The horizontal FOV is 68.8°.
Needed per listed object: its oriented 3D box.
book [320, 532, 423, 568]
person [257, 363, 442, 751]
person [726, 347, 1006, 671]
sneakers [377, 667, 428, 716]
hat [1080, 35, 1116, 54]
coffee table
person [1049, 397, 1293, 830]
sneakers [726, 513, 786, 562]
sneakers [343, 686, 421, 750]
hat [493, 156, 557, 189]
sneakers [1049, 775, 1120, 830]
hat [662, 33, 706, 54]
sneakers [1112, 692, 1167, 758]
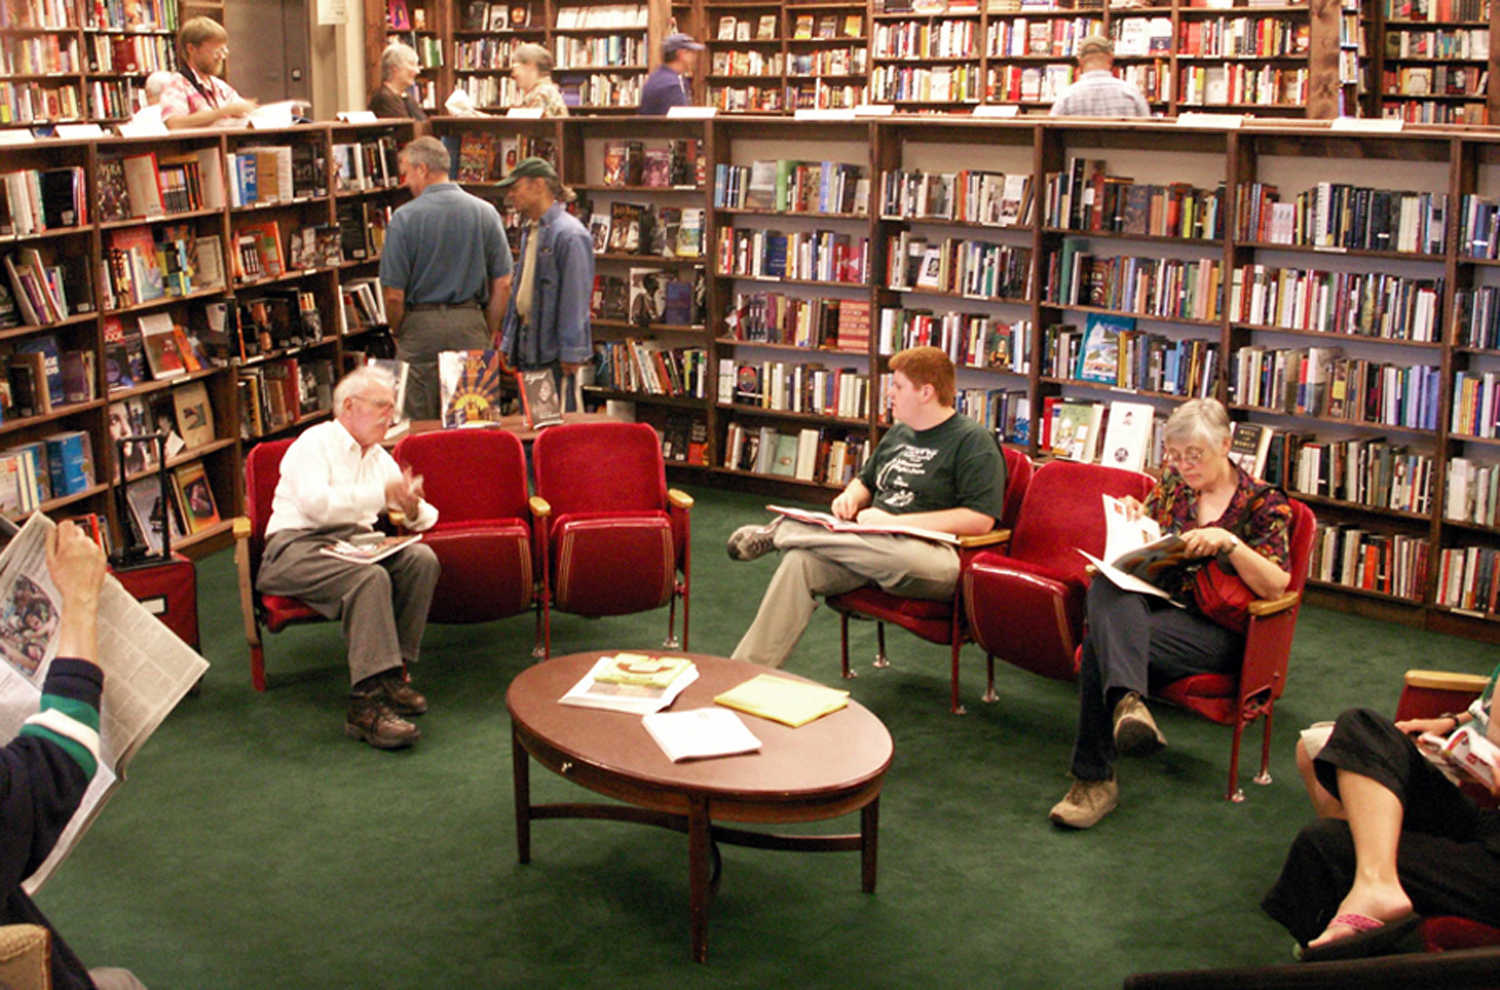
[{"bbox_3d":[-1.712,0.257,4.935,0.395,0.105,0.250,1,16,2],"label":"book"},{"bbox_3d":[-1.753,0.229,4.957,0.746,1.493,1.074,-13,21,-39],"label":"person"},{"bbox_3d":[0.474,0.092,5.172,1.423,1.522,0.963,-4,8,-11],"label":"person"},{"bbox_3d":[-1.588,0.885,4.959,0.293,0.204,0.105,8,16,42],"label":"sneakers"},{"bbox_3d":[2.558,-3.322,8.112,0.219,0.145,0.422,4,17,12],"label":"hat"},{"bbox_3d":[-0.047,0.897,3.667,1.122,0.439,0.861,14,19,41],"label":"coffee table"},{"bbox_3d":[1.804,0.565,4.607,1.069,1.084,1.025,4,12,-4],"label":"person"},{"bbox_3d":[0.019,0.226,5.313,0.379,0.136,0.164,-19,29,55],"label":"sneakers"},{"bbox_3d":[-1.584,0.961,4.724,0.340,0.223,0.142,11,19,32],"label":"sneakers"},{"bbox_3d":[-1.450,-2.071,7.058,0.376,0.194,0.254,2,7,3],"label":"hat"},{"bbox_3d":[1.300,1.190,4.251,0.119,0.140,0.333,2,1,39],"label":"sneakers"},{"bbox_3d":[-0.645,-4.150,10.122,0.306,0.180,0.398,-1,16,-5],"label":"hat"},{"bbox_3d":[1.433,0.854,4.061,0.160,0.218,0.208,4,17,13],"label":"sneakers"}]
